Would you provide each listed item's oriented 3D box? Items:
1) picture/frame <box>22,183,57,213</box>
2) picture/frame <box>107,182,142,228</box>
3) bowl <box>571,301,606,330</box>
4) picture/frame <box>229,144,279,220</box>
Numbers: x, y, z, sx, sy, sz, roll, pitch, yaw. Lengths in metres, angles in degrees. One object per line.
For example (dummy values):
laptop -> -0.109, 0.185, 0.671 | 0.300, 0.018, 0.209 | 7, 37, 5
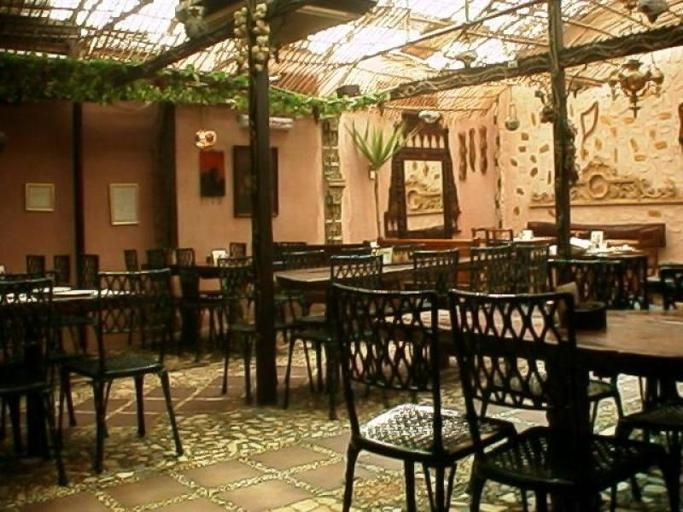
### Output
picture/frame -> -4.013, -0.785, 7.982 | 0.381, 0.410, 0.041 | -2, 3, -42
picture/frame -> -3.119, -0.750, 8.603 | 0.625, 0.867, 0.086 | -2, 2, -42
bowl -> 1.260, 0.303, 3.052 | 0.146, 0.120, 0.202 | 1, 6, 23
picture/frame -> -1.321, -1.182, 9.463 | 0.376, 1.122, 0.759 | 3, 8, 40
